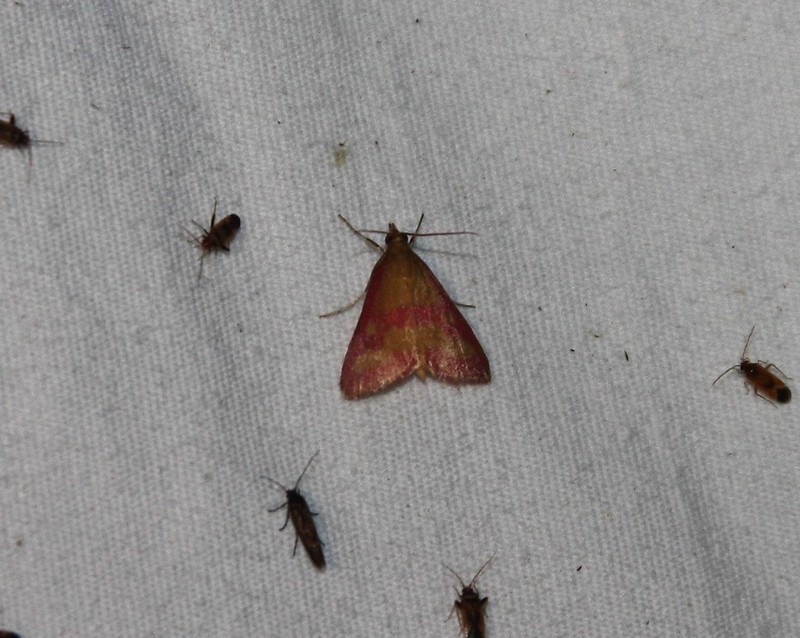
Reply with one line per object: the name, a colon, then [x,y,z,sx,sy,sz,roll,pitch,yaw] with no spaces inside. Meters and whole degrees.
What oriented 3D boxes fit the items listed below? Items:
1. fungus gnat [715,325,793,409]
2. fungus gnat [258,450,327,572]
fungus gnat: [1.832,0.296,5.439,0.272,0.085,0.276,43,93,11]
fungus gnat: [-0.513,0.968,5.471,0.317,0.124,0.531,-18,59,-15]
